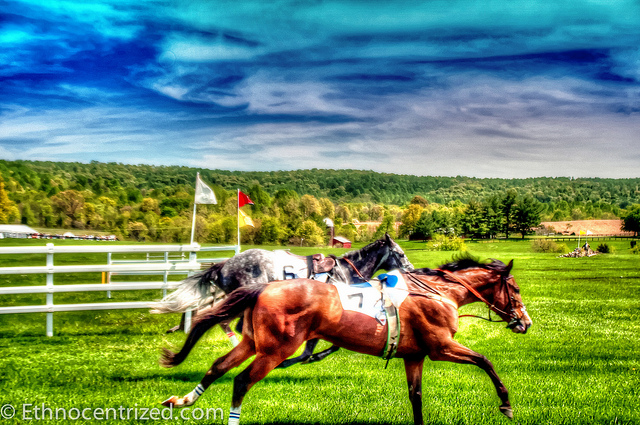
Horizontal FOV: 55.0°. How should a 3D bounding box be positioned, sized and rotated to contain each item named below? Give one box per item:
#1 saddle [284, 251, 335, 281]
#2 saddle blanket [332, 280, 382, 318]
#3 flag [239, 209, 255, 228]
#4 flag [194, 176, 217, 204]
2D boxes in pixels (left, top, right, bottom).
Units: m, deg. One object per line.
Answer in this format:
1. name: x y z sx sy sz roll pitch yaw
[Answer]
1. saddle: -0.310 3.163 36.095 0.994 1.467 2.451 -1 0 -37
2. saddle blanket: 2.227 4.809 33.932 2.393 1.953 0.443 0 1 -5
3. flag: -5.448 0.479 44.507 1.418 1.092 1.192 0 -10 -10
4. flag: -7.853 -1.528 41.911 1.341 1.864 0.771 0 1 -17
